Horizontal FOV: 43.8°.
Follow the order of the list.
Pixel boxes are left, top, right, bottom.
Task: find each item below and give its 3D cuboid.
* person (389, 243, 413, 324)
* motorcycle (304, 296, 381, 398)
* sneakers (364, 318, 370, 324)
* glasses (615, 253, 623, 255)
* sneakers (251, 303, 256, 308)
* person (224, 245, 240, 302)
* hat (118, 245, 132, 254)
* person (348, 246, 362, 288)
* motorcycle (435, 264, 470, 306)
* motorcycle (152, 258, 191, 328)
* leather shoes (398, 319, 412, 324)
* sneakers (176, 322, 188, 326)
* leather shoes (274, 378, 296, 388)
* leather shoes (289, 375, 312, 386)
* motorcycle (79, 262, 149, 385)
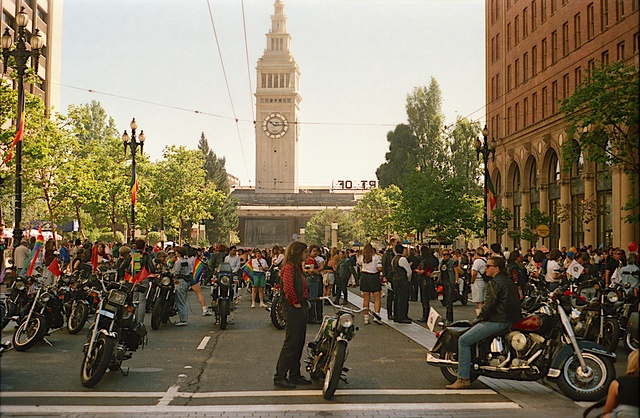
[{"bbox_3d":[2.809,2.536,27.411,0.639,2.723,0.805,1,-7,4],"label":"person"},{"bbox_3d":[0.291,3.541,19.820,0.698,2.237,1.414,6,-8,-33],"label":"motorcycle"},{"bbox_3d":[1.623,3.843,27.443,0.170,0.229,0.160,1,-9,-5],"label":"sneakers"},{"bbox_3d":[10.468,1.559,27.855,0.206,0.137,0.052,4,-7,-19],"label":"glasses"},{"bbox_3d":[-2.725,3.927,32.588,0.129,0.171,0.396,1,-10,-3],"label":"sneakers"},{"bbox_3d":[-3.264,2.467,29.913,0.698,2.178,0.652,-4,7,-14],"label":"person"},{"bbox_3d":[-6.207,1.304,25.275,0.314,0.279,0.450,3,-8,-15],"label":"hat"},{"bbox_3d":[1.780,3.080,40.812,0.783,0.798,2.626,3,35,2],"label":"person"},{"bbox_3d":[5.292,3.202,32.956,2.217,1.599,1.234,-3,-2,33],"label":"motorcycle"},{"bbox_3d":[-4.978,2.770,26.451,1.057,2.412,1.903,1,-7,8],"label":"motorcycle"},{"bbox_3d":[2.960,3.857,27.465,0.338,0.143,0.168,-3,-2,0],"label":"leather shoes"},{"bbox_3d":[-4.646,3.836,26.725,0.342,0.139,0.125,4,-7,4],"label":"sneakers"},{"bbox_3d":[-0.874,4.351,20.051,0.508,0.220,0.237,2,3,8],"label":"leather shoes"},{"bbox_3d":[-0.493,4.341,20.255,0.647,0.254,0.220,0,-3,-3],"label":"leather shoes"},{"bbox_3d":[-5.303,3.169,20.425,0.860,2.663,1.379,-3,-8,35],"label":"motorcycle"}]
